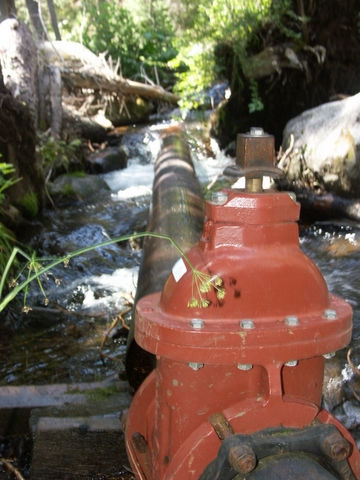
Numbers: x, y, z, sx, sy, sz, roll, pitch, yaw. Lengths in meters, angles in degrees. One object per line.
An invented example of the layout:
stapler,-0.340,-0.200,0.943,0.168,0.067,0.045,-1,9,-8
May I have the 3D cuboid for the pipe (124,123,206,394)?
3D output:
pipe,0.003,-0.137,2.299,0.228,0.212,1.306,17,45,-9
